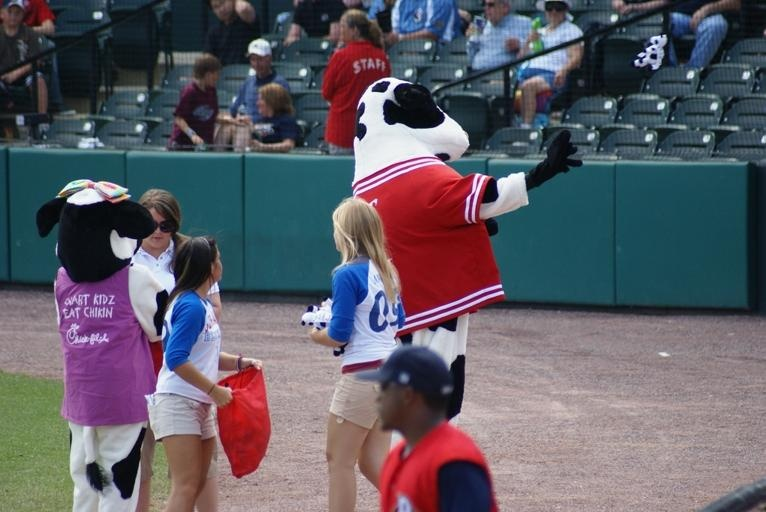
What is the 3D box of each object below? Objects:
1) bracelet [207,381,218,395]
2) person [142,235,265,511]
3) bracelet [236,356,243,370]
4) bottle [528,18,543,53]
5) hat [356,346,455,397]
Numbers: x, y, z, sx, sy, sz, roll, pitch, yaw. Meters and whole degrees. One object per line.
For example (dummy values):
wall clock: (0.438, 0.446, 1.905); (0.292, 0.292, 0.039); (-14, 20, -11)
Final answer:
bracelet: (-1.564, 1.180, 13.491); (0.026, 0.103, 0.090); (18, -5, -22)
person: (-1.700, 1.073, 13.608); (0.905, 2.457, 0.460); (-1, 7, -30)
bracelet: (-1.349, 0.985, 13.843); (0.040, 0.108, 0.073); (5, -3, -32)
bottle: (1.955, -2.835, 19.025); (0.162, 0.451, 0.158); (2, 6, 0)
hat: (0.262, 0.926, 12.230); (0.534, 0.291, 0.399); (6, -1, 4)
